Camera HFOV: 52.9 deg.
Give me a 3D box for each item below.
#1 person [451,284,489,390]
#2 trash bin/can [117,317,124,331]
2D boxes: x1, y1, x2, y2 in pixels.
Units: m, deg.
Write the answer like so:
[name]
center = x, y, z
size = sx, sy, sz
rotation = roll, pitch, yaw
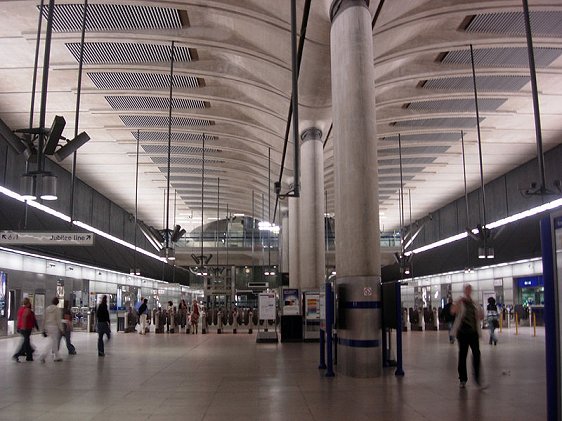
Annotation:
[person]
center = 4.208, 2.778, 12.789
size = 0.628, 2.210, 1.078
rotation = -2, -8, 20
[trash bin/can]
center = -8.561, 6.007, 30.072
size = 0.329, 0.782, 0.388
rotation = 5, -9, -32
